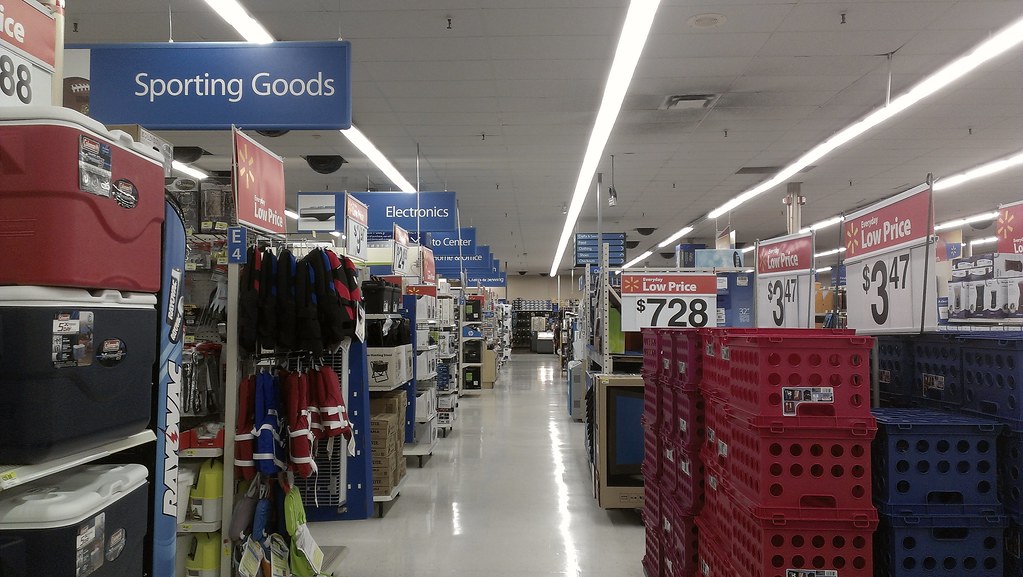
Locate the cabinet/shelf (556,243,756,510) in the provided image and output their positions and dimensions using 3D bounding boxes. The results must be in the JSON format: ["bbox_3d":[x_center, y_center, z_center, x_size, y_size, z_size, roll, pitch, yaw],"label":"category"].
[{"bbox_3d":[1.415,0.882,6.986,1.835,3.000,3.310,0,1,1],"label":"cabinet/shelf"}]
